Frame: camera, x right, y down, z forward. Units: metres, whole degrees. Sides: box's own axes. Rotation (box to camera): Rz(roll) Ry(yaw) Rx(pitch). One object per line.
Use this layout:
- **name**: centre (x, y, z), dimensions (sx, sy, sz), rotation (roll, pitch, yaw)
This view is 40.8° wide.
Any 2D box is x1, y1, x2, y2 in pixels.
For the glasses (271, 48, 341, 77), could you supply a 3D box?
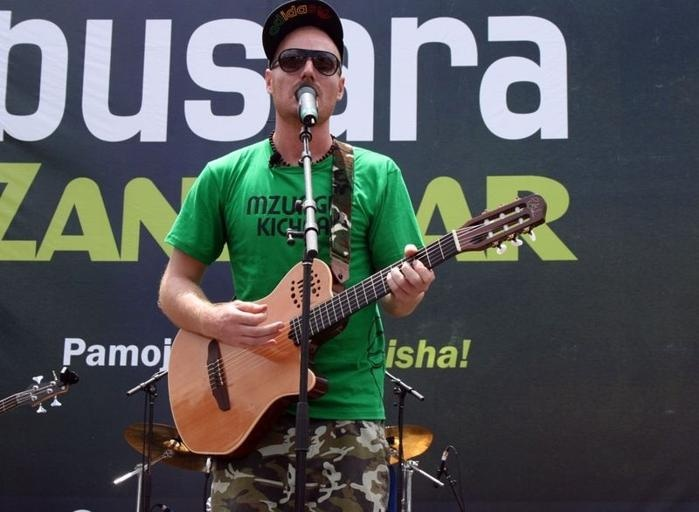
- **glasses**: centre (-0.254, -1.214, 5.860), dimensions (0.333, 0.182, 0.182), rotation (5, 13, 26)

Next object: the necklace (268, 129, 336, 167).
- **necklace**: centre (-0.312, -0.687, 5.972), dimensions (0.325, 0.199, 0.247), rotation (-1, 9, 35)

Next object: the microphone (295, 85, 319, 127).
- **microphone**: centre (-0.247, -0.902, 5.736), dimensions (0.102, 0.102, 0.258), rotation (-16, 45, 15)

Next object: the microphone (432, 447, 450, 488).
- **microphone**: centre (0.753, 1.686, 7.488), dimensions (0.071, 0.400, 0.106), rotation (10, -5, 20)

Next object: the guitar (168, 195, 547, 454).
- **guitar**: centre (-0.153, 0.405, 5.707), dimensions (1.268, 2.814, 0.405), rotation (62, 17, 20)
